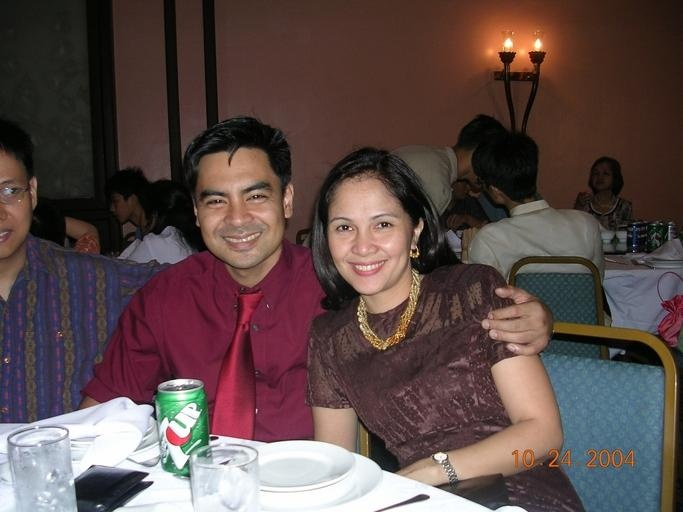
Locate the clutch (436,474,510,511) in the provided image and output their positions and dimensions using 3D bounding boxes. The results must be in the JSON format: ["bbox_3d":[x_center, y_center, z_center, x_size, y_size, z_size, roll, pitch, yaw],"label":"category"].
[{"bbox_3d":[0.332,0.546,1.273,0.087,0.027,0.086,0,1,-29],"label":"clutch"}]

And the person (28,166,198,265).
[{"bbox_3d":[-1.581,-0.308,3.764,0.515,0.369,0.838,-1,24,-18],"label":"person"}]
